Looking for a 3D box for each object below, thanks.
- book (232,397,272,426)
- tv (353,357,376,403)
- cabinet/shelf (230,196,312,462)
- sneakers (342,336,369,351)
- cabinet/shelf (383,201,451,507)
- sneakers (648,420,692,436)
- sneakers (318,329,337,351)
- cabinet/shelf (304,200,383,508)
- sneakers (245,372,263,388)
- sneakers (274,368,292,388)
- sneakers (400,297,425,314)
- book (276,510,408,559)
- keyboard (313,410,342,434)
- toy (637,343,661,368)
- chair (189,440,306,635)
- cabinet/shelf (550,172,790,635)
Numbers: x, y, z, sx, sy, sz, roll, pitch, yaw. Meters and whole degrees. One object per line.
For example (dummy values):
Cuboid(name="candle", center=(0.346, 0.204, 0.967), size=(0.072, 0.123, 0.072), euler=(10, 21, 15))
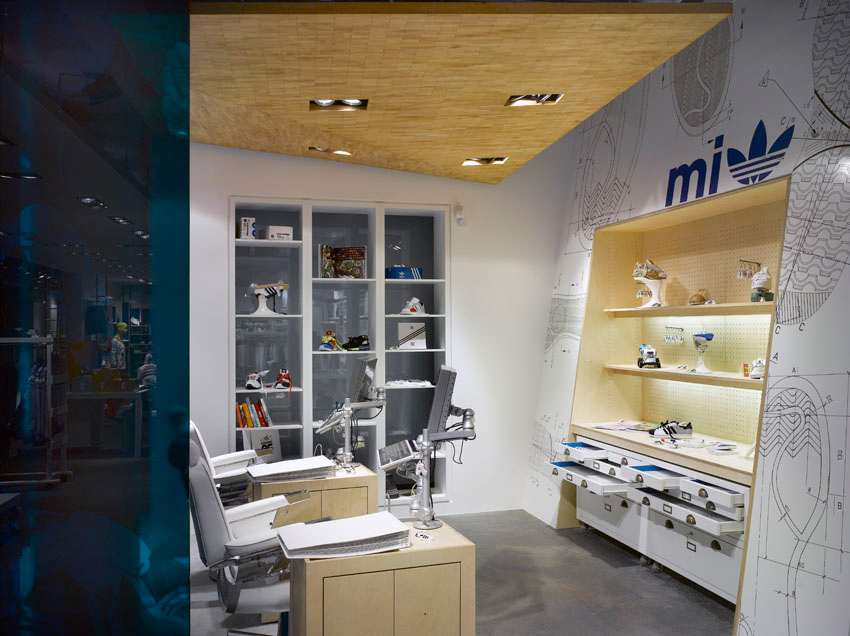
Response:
Cuboid(name="book", center=(-1.457, 0.806, 5.048), size=(0.229, 0.277, 0.289), euler=(-2, 0, -11))
Cuboid(name="tv", center=(-0.427, 0.438, 4.232), size=(0.119, 0.359, 0.347), euler=(8, -7, -8))
Cuboid(name="cabinet/shelf", center=(-1.392, -0.057, 5.302), size=(0.486, 2.050, 0.232), euler=(1, -19, -17))
Cuboid(name="sneakers", center=(-0.611, 0.221, 5.390), size=(0.291, 0.136, 0.144), euler=(-2, 1, -34))
Cuboid(name="cabinet/shelf", center=(-0.077, 0.318, 5.627), size=(0.616, 2.673, 0.512), euler=(-1, 1, 0))
Cuboid(name="sneakers", center=(1.887, 0.837, 4.535), size=(0.252, 0.085, 0.136), euler=(1, -6, 7))
Cuboid(name="sneakers", center=(-0.850, 0.201, 5.344), size=(0.131, 0.185, 0.215), euler=(0, -5, -3))
Cuboid(name="cabinet/shelf", center=(-0.805, 0.392, 5.678), size=(0.599, 2.912, 0.283), euler=(0, 26, -7))
Cuboid(name="sneakers", center=(-1.469, 0.531, 5.115), size=(0.144, 0.127, 0.251), euler=(-1, 1, -18))
Cuboid(name="sneakers", center=(-1.254, 0.524, 5.251), size=(0.137, 0.145, 0.369), euler=(1, -5, -5))
Cuboid(name="sneakers", center=(-0.105, -0.105, 5.580), size=(0.169, 0.082, 0.169), euler=(1, -8, 0))
Cuboid(name="book", center=(-0.380, 0.959, 2.641), size=(0.327, 0.077, 0.320), euler=(1, -1, -21))
Cuboid(name="keyboard", center=(-0.651, 0.710, 4.178), size=(0.159, 0.173, 0.333), euler=(-1, 1, -8))
Cuboid(name="toy", center=(1.796, 0.297, 4.827), size=(0.125, 0.142, 0.278), euler=(1, 2, 5))
Cuboid(name="chair", center=(-0.930, 1.130, 2.994), size=(0.479, 1.191, 0.622), euler=(-2, 1, -14))
Cuboid(name="cabinet/shelf", center=(1.874, 0.442, 4.400), size=(0.743, 2.483, 1.684), euler=(-2, 1, -18))
